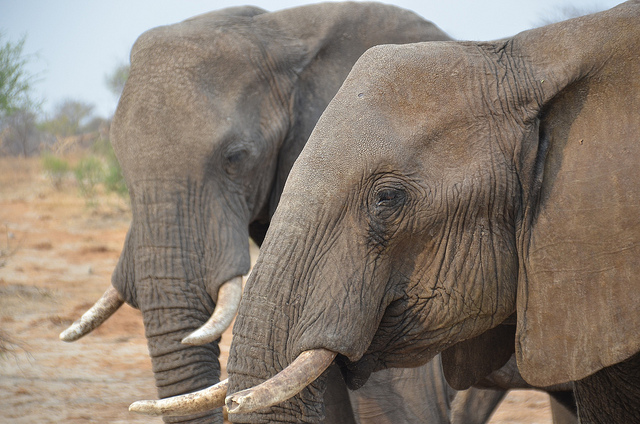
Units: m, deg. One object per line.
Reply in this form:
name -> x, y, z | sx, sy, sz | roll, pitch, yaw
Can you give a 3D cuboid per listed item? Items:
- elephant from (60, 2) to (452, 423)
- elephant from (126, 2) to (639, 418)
elephant -> 0.294, -0.158, 5.114 | 2.649, 1.742, 1.515 | -4, 1, -41
elephant -> 0.322, 0.018, 3.695 | 2.027, 1.285, 1.337 | -4, 2, -21
